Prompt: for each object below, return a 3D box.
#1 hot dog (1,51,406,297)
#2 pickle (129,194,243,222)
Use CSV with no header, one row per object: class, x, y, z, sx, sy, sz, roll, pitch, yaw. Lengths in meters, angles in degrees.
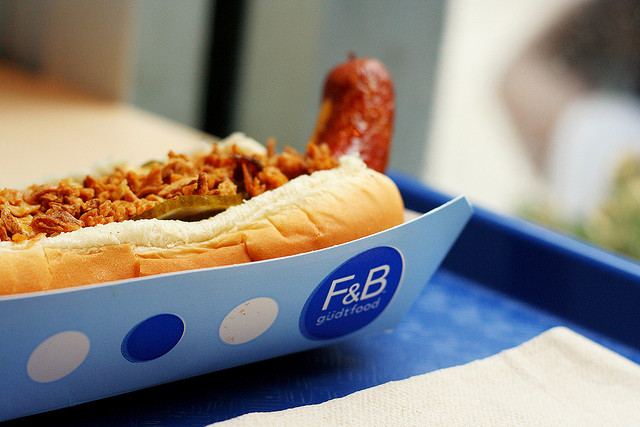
hot dog,-0.200,-0.123,1.209,0.831,0.390,0.383,-2,22,-21
pickle,-0.250,-0.028,1.145,0.188,0.052,0.116,-6,18,-25
